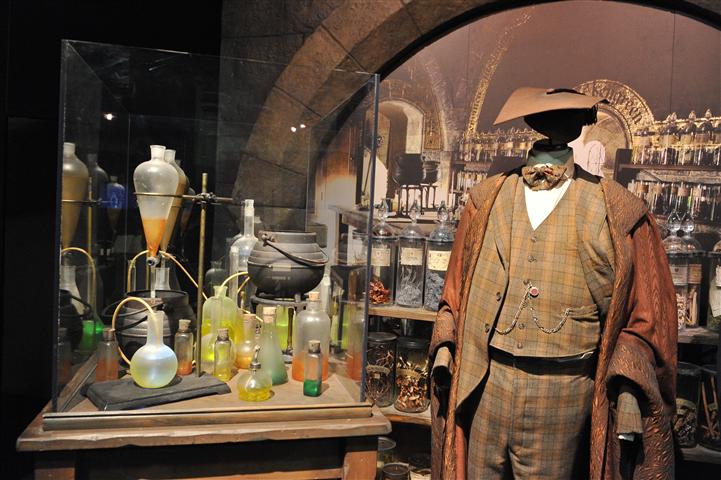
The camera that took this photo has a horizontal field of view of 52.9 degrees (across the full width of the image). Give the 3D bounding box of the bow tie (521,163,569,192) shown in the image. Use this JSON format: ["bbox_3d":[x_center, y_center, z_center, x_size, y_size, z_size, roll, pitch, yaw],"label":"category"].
[{"bbox_3d":[0.797,-0.271,3.163,0.177,0.079,0.116,4,34,20],"label":"bow tie"}]
